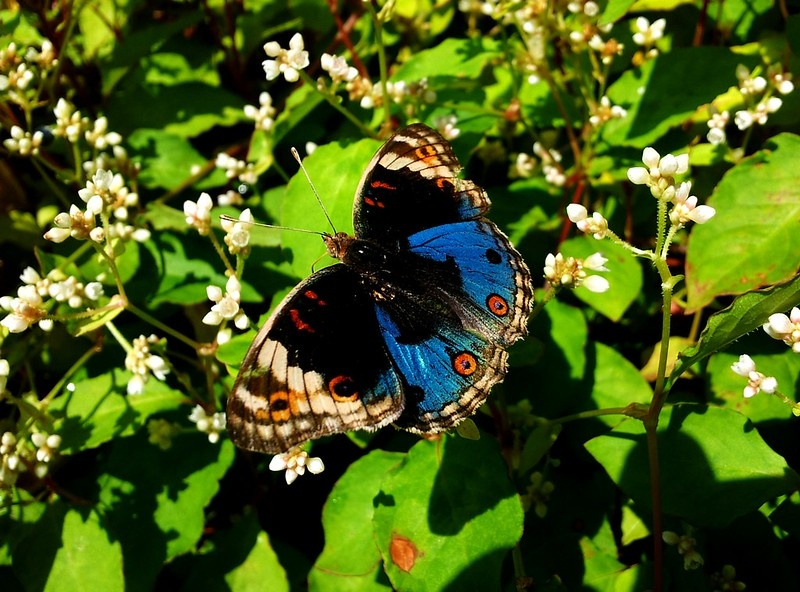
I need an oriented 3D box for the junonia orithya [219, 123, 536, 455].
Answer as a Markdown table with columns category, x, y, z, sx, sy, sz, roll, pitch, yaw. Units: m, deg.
| category | x | y | z | sx | sy | sz | roll | pitch | yaw |
| --- | --- | --- | --- | --- | --- | --- | --- | --- | --- |
| junonia orithya | -0.008 | 0.025 | 3.220 | 0.946 | 1.252 | 1.346 | -3 | 9 | 1 |
